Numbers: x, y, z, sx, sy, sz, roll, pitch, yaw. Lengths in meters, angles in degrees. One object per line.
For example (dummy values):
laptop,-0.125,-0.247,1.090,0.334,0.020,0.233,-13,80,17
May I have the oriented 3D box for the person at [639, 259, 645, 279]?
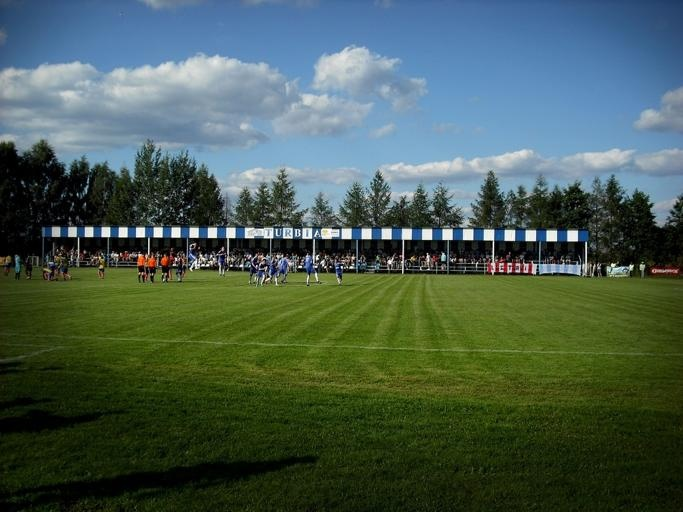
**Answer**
person,23.315,1.129,47.325,0.258,1.113,1.525,4,11,22
